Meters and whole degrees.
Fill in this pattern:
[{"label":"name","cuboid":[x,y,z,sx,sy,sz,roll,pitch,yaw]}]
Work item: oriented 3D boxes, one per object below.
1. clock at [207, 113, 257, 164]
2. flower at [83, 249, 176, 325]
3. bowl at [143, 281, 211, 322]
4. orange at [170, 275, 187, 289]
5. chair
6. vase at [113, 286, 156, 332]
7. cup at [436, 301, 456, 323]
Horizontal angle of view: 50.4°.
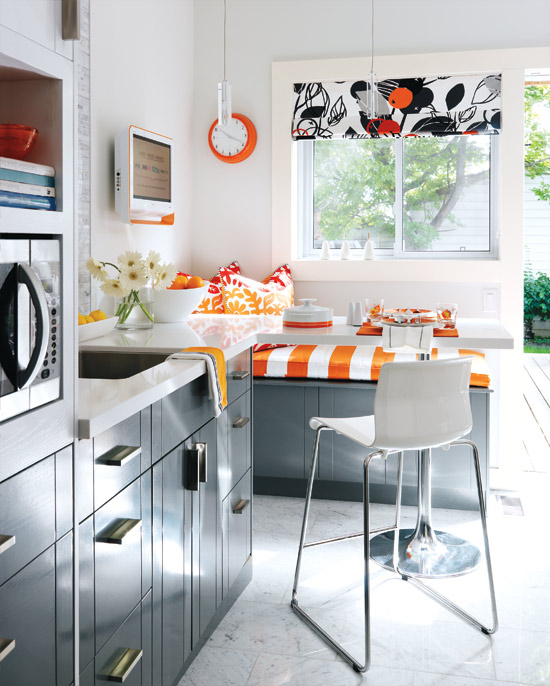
[{"label":"clock","cuboid":[-0.287,-1.329,3.765,0.334,0.319,0.086,0,4,16]},{"label":"flower","cuboid":[-0.517,-0.209,2.089,0.206,0.205,0.218,-13,-10,-3]},{"label":"bowl","cuboid":[-0.405,-0.173,2.343,0.275,0.136,0.275,-1,1,0]},{"label":"orange","cuboid":[-0.384,-0.250,2.390,0.024,0.066,0.065,27,-7,-31]},{"label":"chair","cuboid":[0.411,0.447,2.030,0.689,0.857,1.019,1,5,20]},{"label":"vase","cuboid":[-0.509,-0.130,2.141,0.142,0.159,0.147,1,-3,-4]},{"label":"cup","cuboid":[0.656,-0.122,2.240,0.071,0.079,0.069,-2,11,0]}]
